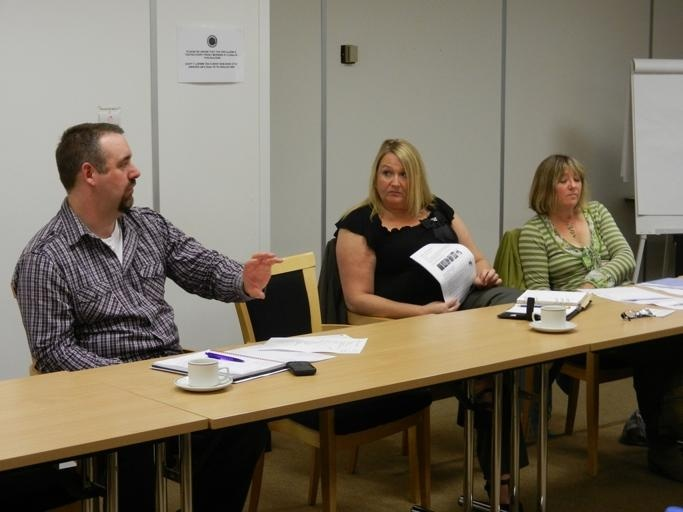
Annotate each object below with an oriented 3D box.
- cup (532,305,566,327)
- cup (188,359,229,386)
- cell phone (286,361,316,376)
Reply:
[{"bbox_3d":[0.729,0.209,1.946,0.080,0.067,0.064,-3,-1,25],"label":"cup"},{"bbox_3d":[-0.340,0.291,1.437,0.082,0.059,0.059,3,2,20],"label":"cup"},{"bbox_3d":[-0.112,0.311,1.551,0.086,0.026,0.085,-6,7,-3],"label":"cell phone"}]
